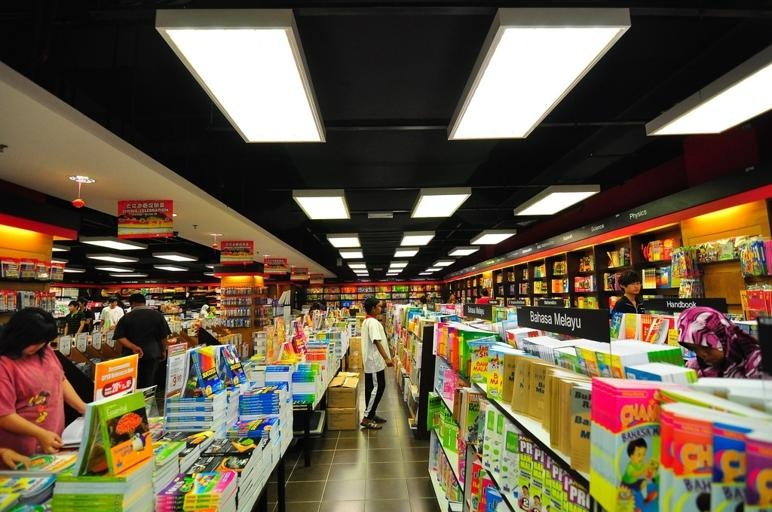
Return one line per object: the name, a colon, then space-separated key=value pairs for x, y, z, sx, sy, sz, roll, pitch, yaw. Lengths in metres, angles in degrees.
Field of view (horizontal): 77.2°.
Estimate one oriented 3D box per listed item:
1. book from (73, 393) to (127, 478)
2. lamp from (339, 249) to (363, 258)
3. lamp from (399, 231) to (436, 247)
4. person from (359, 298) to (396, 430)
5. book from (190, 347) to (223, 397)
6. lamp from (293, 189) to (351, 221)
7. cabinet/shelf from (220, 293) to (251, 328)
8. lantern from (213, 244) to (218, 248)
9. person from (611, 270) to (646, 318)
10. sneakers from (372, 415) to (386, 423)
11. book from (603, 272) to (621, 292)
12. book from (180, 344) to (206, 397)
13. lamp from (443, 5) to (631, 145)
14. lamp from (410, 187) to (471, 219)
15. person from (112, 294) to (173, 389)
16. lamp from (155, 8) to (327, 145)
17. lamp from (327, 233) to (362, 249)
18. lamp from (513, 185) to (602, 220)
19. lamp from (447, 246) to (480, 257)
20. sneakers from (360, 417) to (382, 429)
book: x=-1.954 y=1.238 z=3.304 sx=0.310 sy=0.518 sz=0.154 roll=1 pitch=1 yaw=-31
lamp: x=-0.958 y=-0.043 z=12.920 sx=0.538 sy=0.164 sz=1.849 roll=1 pitch=1 yaw=-6
lamp: x=0.657 y=-0.363 z=10.035 sx=0.585 sy=0.242 sz=0.964 roll=1 pitch=1 yaw=-2
person: x=-0.154 y=1.636 z=7.486 sx=0.462 sy=1.515 sz=1.282 roll=1 pitch=1 yaw=-2
book: x=-1.598 y=1.037 z=4.256 sx=0.135 sy=0.361 sz=0.379 roll=-16 pitch=-11 yaw=5
lamp: x=-0.959 y=-0.780 z=7.338 sx=0.702 sy=0.295 sz=1.161 roll=1 pitch=1 yaw=0
cabinet/shelf: x=-5.197 y=1.934 z=16.659 sx=1.145 sy=1.255 sz=0.444 roll=0 pitch=-10 yaw=-6
lantern: x=-4.251 y=-0.248 z=11.976 sx=0.093 sy=0.088 sz=0.094 roll=-5 pitch=-2 yaw=18
person: x=2.979 y=0.440 z=5.899 sx=0.305 sy=0.523 sz=0.852 roll=2 pitch=1 yaw=26
sneakers: x=-0.088 y=2.466 z=7.305 sx=0.244 sy=0.096 sz=0.080 roll=4 pitch=-3 yaw=-18
book: x=3.822 y=0.456 z=8.130 sx=0.176 sy=0.303 sz=0.314 roll=0 pitch=-12 yaw=-6
book: x=-1.686 y=1.019 z=4.199 sx=0.136 sy=0.355 sz=0.356 roll=-1 pitch=-9 yaw=-7
lamp: x=1.229 y=-1.553 z=4.098 sx=1.023 sy=0.880 sz=1.166 roll=1 pitch=1 yaw=-10
lamp: x=0.792 y=-0.795 z=7.254 sx=0.687 sy=0.351 sz=1.222 roll=1 pitch=1 yaw=-3
person: x=-3.920 y=1.499 z=7.777 sx=0.798 sy=1.822 sz=0.587 roll=2 pitch=13 yaw=-23
lamp: x=-1.164 y=-1.505 z=4.188 sx=1.025 sy=0.599 sz=1.287 roll=1 pitch=1 yaw=3
lamp: x=-0.883 y=-0.322 z=10.314 sx=0.576 sy=0.210 sz=1.435 roll=1 pitch=1 yaw=2
lamp: x=2.644 y=-0.866 z=7.523 sx=0.862 sy=0.422 sz=1.087 roll=1 pitch=1 yaw=-8
lamp: x=2.170 y=-0.112 z=13.511 sx=0.766 sy=0.236 sz=1.869 roll=2 pitch=1 yaw=7
sneakers: x=-0.238 y=2.482 z=7.171 sx=0.365 sy=0.156 sz=0.128 roll=1 pitch=-3 yaw=-3
